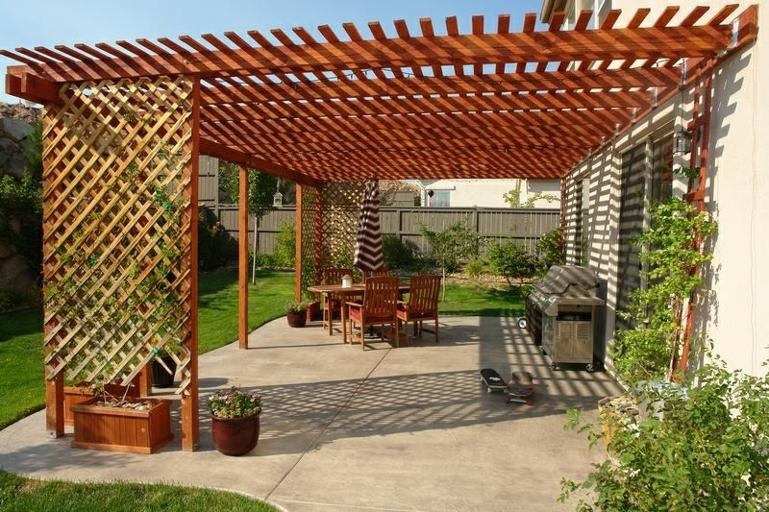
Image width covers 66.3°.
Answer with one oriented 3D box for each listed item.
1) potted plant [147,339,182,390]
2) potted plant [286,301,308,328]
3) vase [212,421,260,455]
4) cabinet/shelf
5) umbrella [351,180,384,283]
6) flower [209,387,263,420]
[{"bbox_3d":[-2.716,1.418,7.290,0.369,0.346,0.413,-2,-11,-9],"label":"potted plant"},{"bbox_3d":[-1.559,1.072,10.518,0.398,0.428,0.382,0,-3,0],"label":"potted plant"},{"bbox_3d":[-1.399,1.682,5.505,0.376,0.276,0.363,0,-8,-1],"label":"vase"},{"bbox_3d":[2.552,0.992,8.510,0.707,1.028,1.371,1,8,3],"label":"cabinet/shelf"},{"bbox_3d":[-0.306,-0.546,11.534,0.582,1.859,0.971,0,8,-3],"label":"umbrella"},{"bbox_3d":[-1.457,1.463,5.707,0.508,0.278,0.528,-4,-9,17],"label":"flower"}]
